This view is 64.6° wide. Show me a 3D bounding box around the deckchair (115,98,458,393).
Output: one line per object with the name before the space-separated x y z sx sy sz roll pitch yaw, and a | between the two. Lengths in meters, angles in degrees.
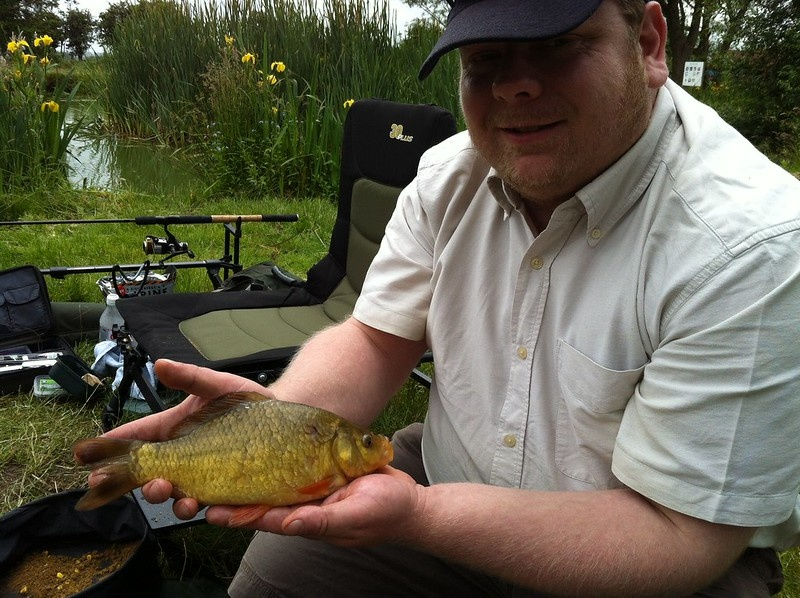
deckchair | -0.548 -0.365 3.540 1.680 1.566 1.273 -2 13 -35
